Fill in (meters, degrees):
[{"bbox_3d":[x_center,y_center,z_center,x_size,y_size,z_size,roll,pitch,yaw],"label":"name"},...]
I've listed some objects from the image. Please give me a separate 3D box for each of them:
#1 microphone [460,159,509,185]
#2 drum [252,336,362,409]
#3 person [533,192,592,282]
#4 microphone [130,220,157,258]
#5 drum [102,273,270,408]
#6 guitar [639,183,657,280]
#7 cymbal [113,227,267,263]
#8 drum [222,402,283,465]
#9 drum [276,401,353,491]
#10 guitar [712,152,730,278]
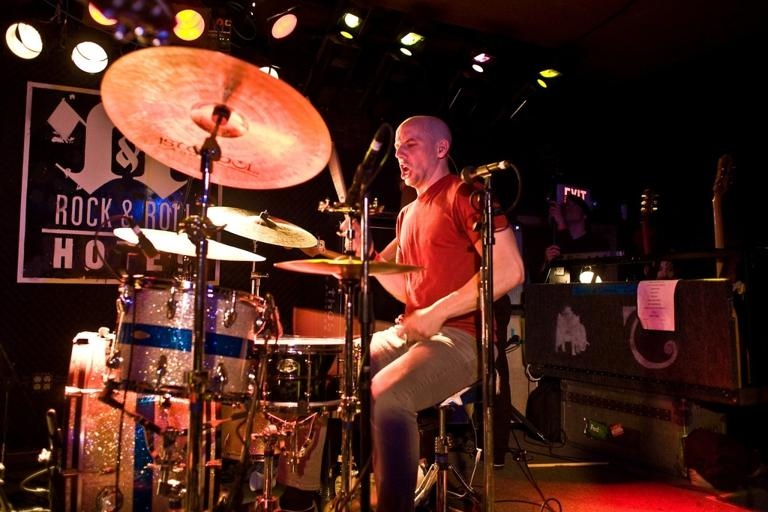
[{"bbox_3d":[0.833,-0.669,6.133,0.174,0.155,0.424,-34,16,-38],"label":"microphone"},{"bbox_3d":[-0.791,0.993,6.575,0.701,0.430,0.697,1,-7,0],"label":"drum"},{"bbox_3d":[2.461,-0.305,9.933,0.681,0.844,0.487,1,0,11],"label":"person"},{"bbox_3d":[-1.961,-0.107,6.013,0.112,0.410,0.104,-3,34,34],"label":"microphone"},{"bbox_3d":[-1.599,0.799,6.300,1.022,0.677,1.056,5,-12,1],"label":"drum"},{"bbox_3d":[3.258,-0.291,8.931,0.159,0.903,2.350,1,0,21],"label":"guitar"},{"bbox_3d":[-1.764,-0.091,6.638,0.711,0.146,0.626,10,-7,-42],"label":"cymbal"},{"bbox_3d":[-1.215,1.712,6.735,0.600,0.676,0.609,1,-3,-3],"label":"drum"},{"bbox_3d":[-0.766,1.758,6.688,0.536,0.725,0.744,0,-4,3],"label":"drum"},{"bbox_3d":[3.876,-0.521,8.309,0.184,1.284,2.374,2,0,25],"label":"guitar"}]
